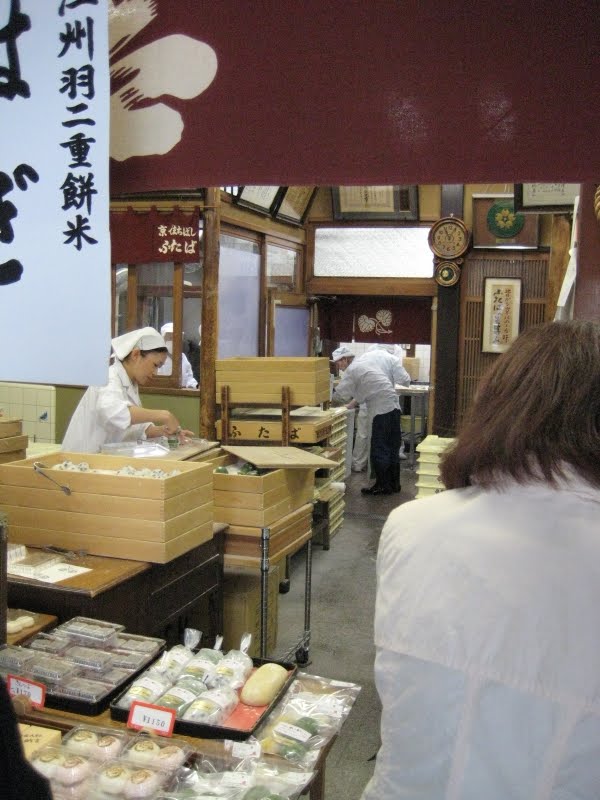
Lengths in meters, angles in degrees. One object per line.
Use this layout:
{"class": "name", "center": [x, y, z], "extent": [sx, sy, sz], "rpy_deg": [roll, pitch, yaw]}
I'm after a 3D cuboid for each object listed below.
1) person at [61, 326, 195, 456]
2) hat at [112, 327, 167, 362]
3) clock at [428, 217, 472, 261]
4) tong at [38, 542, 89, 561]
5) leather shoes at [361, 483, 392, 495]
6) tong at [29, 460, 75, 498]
{"class": "person", "center": [-1.047, -0.054, 3.733], "extent": [0.673, 0.747, 0.549], "rpy_deg": [17, 14, 41]}
{"class": "hat", "center": [-0.979, -0.345, 3.834], "extent": [0.283, 0.126, 0.206], "rpy_deg": [-9, 15, -19]}
{"class": "clock", "center": [1.990, -2.116, 8.264], "extent": [0.557, 0.583, 0.187], "rpy_deg": [-8, 2, 24]}
{"class": "tong", "center": [-0.886, 0.563, 2.344], "extent": [0.131, 0.022, 0.070], "rpy_deg": [10, 6, 13]}
{"class": "leather shoes", "center": [0.961, 1.117, 7.954], "extent": [0.413, 0.163, 0.135], "rpy_deg": [-2, -1, 11]}
{"class": "tong", "center": [-0.946, 0.302, 2.425], "extent": [0.099, 0.166, 0.087], "rpy_deg": [-35, -11, -43]}
